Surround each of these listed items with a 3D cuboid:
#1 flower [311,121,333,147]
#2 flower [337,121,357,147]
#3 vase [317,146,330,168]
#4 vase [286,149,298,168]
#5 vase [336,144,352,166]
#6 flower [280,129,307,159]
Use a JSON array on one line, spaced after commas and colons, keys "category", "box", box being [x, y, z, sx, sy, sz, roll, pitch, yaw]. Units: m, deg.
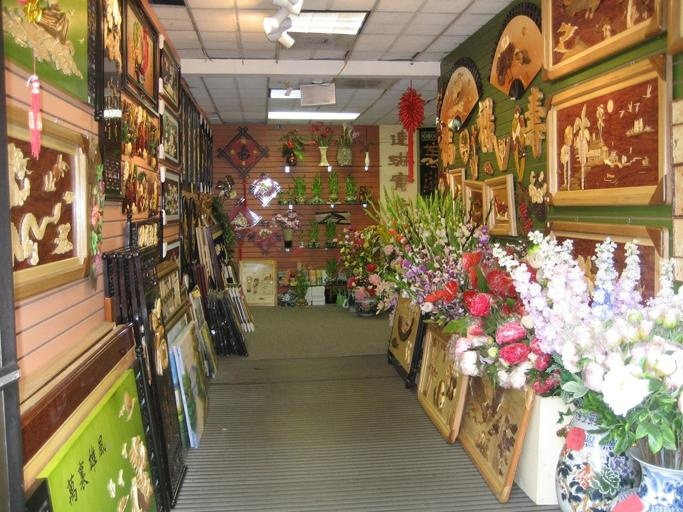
[{"category": "flower", "box": [-0.410, -2.566, 9.443, 0.437, 0.531, 0.472, -2, -4, 17]}, {"category": "flower", "box": [0.180, -2.564, 9.315, 0.447, 0.691, 0.468, 1, 3, 11]}, {"category": "vase", "box": [-0.379, -2.145, 9.368, 0.246, 0.427, 0.276, -1, 5, -3]}, {"category": "vase", "box": [-1.048, -2.103, 9.160, 0.261, 0.335, 0.162, -1, 4, 0]}, {"category": "vase", "box": [0.070, -2.126, 9.250, 0.351, 0.605, 0.356, 0, 0, 7]}, {"category": "flower", "box": [-1.014, -2.378, 9.219, 0.497, 0.658, 0.359, -2, 5, -9]}]
